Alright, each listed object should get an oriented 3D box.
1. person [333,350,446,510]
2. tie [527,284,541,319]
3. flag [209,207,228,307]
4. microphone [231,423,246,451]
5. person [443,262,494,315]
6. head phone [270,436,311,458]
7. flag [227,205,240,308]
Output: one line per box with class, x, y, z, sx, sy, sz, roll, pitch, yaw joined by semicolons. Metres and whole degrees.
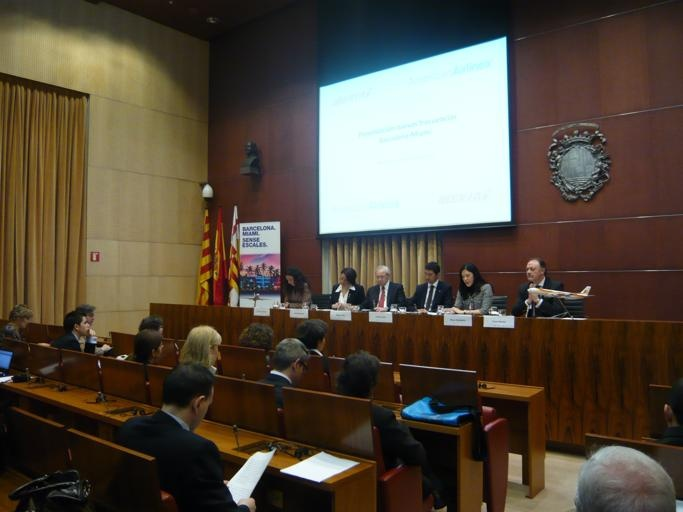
person;0.370;1.209;3.742;0.685;1.114;0.486;0;-1;-38
tie;1.950;0.448;5.618;0.100;0.352;0.208;-1;26;13
flag;-2.382;-0.013;10.885;0.297;1.902;0.810;0;0;-14
microphone;-0.690;1.220;3.730;0.080;0.284;0.110;-6;7;-19
person;1.519;0.386;6.592;0.490;0.986;0.556;3;-7;-24
head phone;-0.335;1.225;3.549;0.322;0.058;0.185;-1;-1;33
flag;-2.013;-0.047;10.468;0.170;1.884;0.752;0;0;-11
